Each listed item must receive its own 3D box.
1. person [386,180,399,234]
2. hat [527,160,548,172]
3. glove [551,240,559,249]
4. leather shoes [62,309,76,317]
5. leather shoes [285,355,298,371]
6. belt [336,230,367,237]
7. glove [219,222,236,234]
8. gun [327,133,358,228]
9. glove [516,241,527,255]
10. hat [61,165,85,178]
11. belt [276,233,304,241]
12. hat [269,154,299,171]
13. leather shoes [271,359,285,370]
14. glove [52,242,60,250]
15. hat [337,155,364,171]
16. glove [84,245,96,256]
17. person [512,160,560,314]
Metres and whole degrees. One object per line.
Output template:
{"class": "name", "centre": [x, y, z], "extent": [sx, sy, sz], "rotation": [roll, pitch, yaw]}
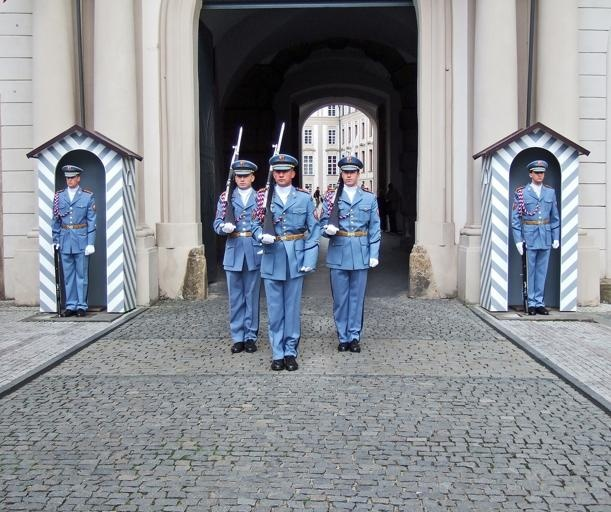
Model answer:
{"class": "person", "centre": [2.384, -1.314, 21.921], "extent": [0.346, 1.425, 1.217], "rotation": [1, 8, 7]}
{"class": "hat", "centre": [2.592, -1.002, 8.953], "extent": [0.170, 0.084, 0.196], "rotation": [0, -2, -5]}
{"class": "glove", "centre": [2.801, -0.127, 8.860], "extent": [0.065, 0.116, 0.048], "rotation": [5, 4, 14]}
{"class": "leather shoes", "centre": [-2.679, 0.653, 8.983], "extent": [0.181, 0.082, 0.063], "rotation": [6, 2, -1]}
{"class": "leather shoes", "centre": [-0.123, 0.935, 6.794], "extent": [0.113, 0.103, 0.131], "rotation": [0, 8, 0]}
{"class": "belt", "centre": [0.430, -0.205, 7.381], "extent": [0.295, 0.062, 0.095], "rotation": [0, 8, -1]}
{"class": "glove", "centre": [-0.709, -0.247, 7.192], "extent": [0.120, 0.110, 0.149], "rotation": [-1, 8, -7]}
{"class": "gun", "centre": [0.355, -0.587, 7.339], "extent": [0.305, 0.662, 0.534], "rotation": [1, 8, 5]}
{"class": "glove", "centre": [2.391, -0.086, 8.870], "extent": [0.101, 0.132, 0.044], "rotation": [3, 1, -10]}
{"class": "hat", "centre": [-2.618, -0.947, 8.940], "extent": [0.175, 0.090, 0.193], "rotation": [0, -18, -3]}
{"class": "belt", "centre": [-0.112, -0.162, 6.934], "extent": [0.328, 0.061, 0.097], "rotation": [-9, 12, -44]}
{"class": "hat", "centre": [-0.197, -0.807, 6.851], "extent": [0.224, 0.139, 0.300], "rotation": [-1, 9, -4]}
{"class": "leather shoes", "centre": [-0.240, 0.945, 6.802], "extent": [0.114, 0.085, 0.102], "rotation": [-1, 8, -3]}
{"class": "glove", "centre": [-2.804, -0.101, 8.925], "extent": [0.056, 0.071, 0.026], "rotation": [-8, 11, -43]}
{"class": "hat", "centre": [0.409, -0.858, 7.378], "extent": [0.220, 0.140, 0.303], "rotation": [0, 9, 3]}
{"class": "glove", "centre": [-2.416, -0.060, 8.890], "extent": [0.095, 0.131, 0.113], "rotation": [-3, 12, -33]}
{"class": "person", "centre": [2.603, -0.197, 8.954], "extent": [0.549, 1.732, 0.405], "rotation": [1, 8, 10]}
